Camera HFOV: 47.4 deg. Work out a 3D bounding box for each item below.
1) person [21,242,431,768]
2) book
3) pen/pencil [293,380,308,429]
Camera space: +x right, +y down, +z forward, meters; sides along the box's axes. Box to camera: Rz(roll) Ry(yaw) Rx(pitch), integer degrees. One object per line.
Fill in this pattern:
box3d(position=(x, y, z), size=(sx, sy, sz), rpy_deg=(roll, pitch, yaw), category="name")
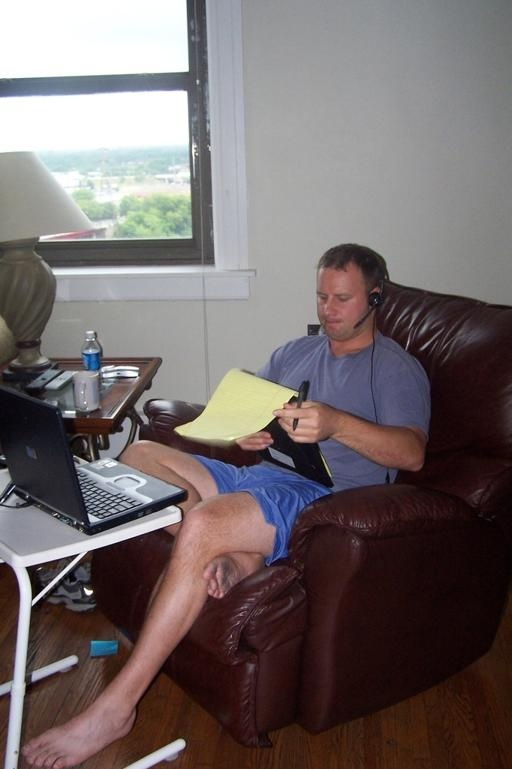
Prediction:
box3d(position=(-0.088, 0.105, 1.773), size=(1.176, 1.423, 0.715), rpy_deg=(-1, 15, -25), category="person")
box3d(position=(-0.001, 0.076, 1.320), size=(0.280, 0.244, 0.362), rpy_deg=(-8, 9, -27), category="book")
box3d(position=(0.095, 0.032, 1.236), size=(0.023, 0.019, 0.139), rpy_deg=(3, 49, 18), category="pen/pencil")
